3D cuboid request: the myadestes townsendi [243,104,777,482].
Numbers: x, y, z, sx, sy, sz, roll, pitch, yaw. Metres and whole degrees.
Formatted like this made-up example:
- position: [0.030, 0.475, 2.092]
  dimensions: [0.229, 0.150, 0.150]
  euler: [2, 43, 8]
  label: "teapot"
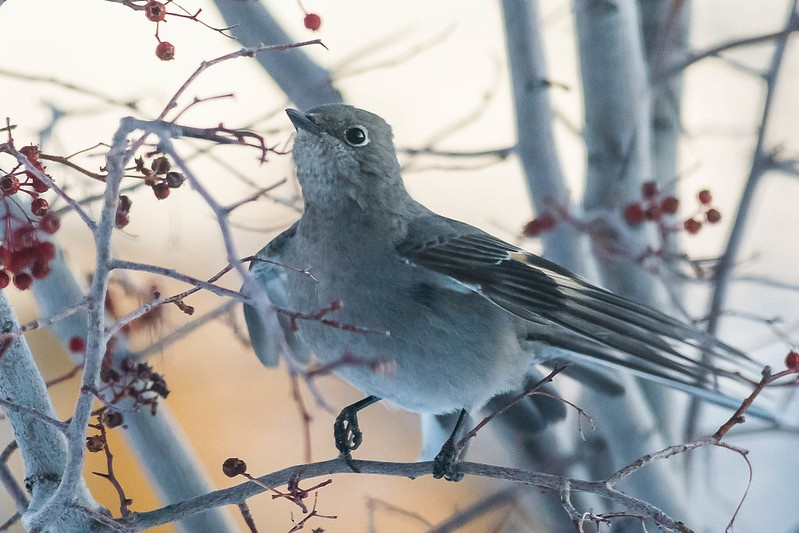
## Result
- position: [0.570, 0.297, 7.186]
  dimensions: [2.946, 3.086, 1.930]
  euler: [6, -98, -10]
  label: "myadestes townsendi"
